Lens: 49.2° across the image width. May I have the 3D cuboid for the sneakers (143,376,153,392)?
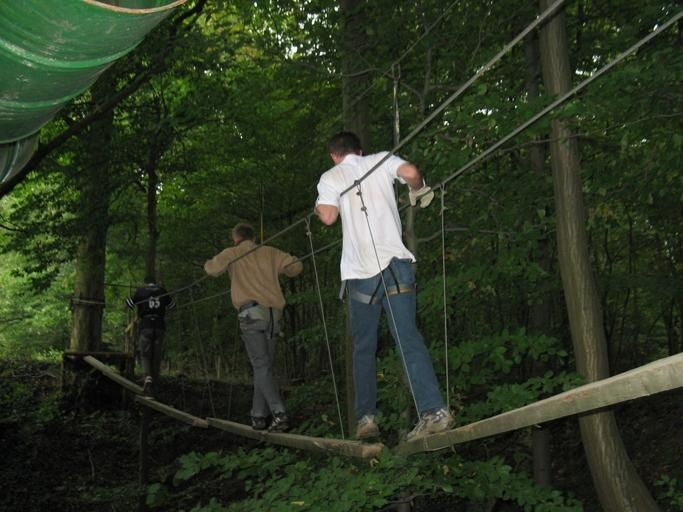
[{"bbox_3d":[-3.817,2.526,14.682,0.133,0.315,0.263,-9,-15,24],"label":"sneakers"}]

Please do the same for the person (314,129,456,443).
[{"bbox_3d":[0.439,0.250,9.017,1.384,3.872,0.977,-4,-13,7],"label":"person"}]

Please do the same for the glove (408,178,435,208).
[{"bbox_3d":[0.929,-0.686,9.062,0.206,0.174,0.384,-3,-22,-13],"label":"glove"}]

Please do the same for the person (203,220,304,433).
[{"bbox_3d":[-1.267,0.989,11.075,1.294,3.142,0.572,0,-13,-10],"label":"person"}]

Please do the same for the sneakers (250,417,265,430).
[{"bbox_3d":[-1.230,2.470,10.991,0.127,0.218,0.219,4,-1,-25],"label":"sneakers"}]
